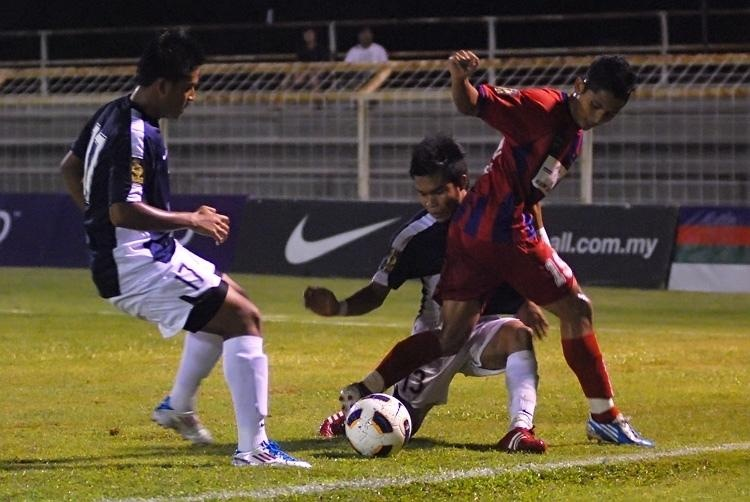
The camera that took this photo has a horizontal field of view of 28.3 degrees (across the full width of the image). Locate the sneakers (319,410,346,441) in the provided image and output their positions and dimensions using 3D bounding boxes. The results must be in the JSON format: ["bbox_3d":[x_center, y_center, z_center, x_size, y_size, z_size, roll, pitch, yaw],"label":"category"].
[{"bbox_3d":[-0.427,1.713,14.403,0.280,0.140,0.213,-26,-13,-6],"label":"sneakers"}]

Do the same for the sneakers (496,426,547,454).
[{"bbox_3d":[1.335,1.812,14.052,0.514,0.221,0.188,-5,-9,24],"label":"sneakers"}]
